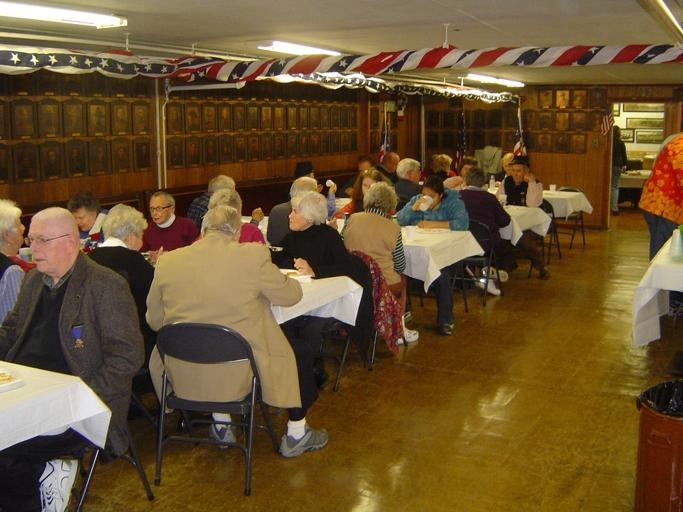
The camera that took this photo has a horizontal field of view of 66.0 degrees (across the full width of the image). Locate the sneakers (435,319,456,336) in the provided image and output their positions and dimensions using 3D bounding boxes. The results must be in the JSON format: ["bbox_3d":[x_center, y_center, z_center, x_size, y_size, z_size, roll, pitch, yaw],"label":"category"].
[{"bbox_3d":[1.224,0.848,6.186,0.172,0.204,0.479,-2,-2,10],"label":"sneakers"}]

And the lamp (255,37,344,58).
[{"bbox_3d":[-0.576,-3.081,7.714,1.012,0.077,0.338,1,-15,-39],"label":"lamp"}]

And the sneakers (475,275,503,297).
[{"bbox_3d":[2.147,0.444,7.646,0.510,0.210,0.177,23,44,32],"label":"sneakers"}]

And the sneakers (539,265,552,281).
[{"bbox_3d":[3.328,0.277,8.441,0.270,0.267,0.131,-3,12,34],"label":"sneakers"}]

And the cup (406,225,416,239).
[{"bbox_3d":[0.809,-0.275,6.224,0.143,0.139,0.122,-1,3,26],"label":"cup"}]

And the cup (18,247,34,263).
[{"bbox_3d":[-2.605,-0.008,4.321,0.102,0.113,0.100,3,14,-1],"label":"cup"}]

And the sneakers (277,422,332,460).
[{"bbox_3d":[-0.271,1.356,3.918,0.400,0.212,0.150,-13,16,-42],"label":"sneakers"}]

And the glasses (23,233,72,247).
[{"bbox_3d":[-1.675,-0.095,2.958,0.265,0.058,0.097,2,13,11],"label":"glasses"}]
